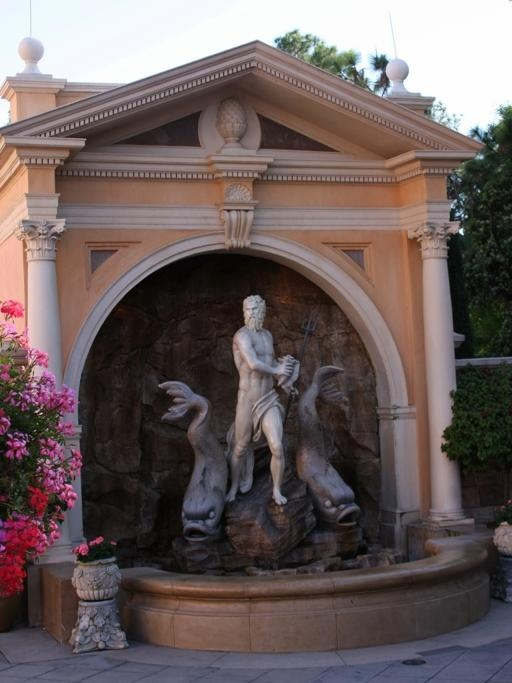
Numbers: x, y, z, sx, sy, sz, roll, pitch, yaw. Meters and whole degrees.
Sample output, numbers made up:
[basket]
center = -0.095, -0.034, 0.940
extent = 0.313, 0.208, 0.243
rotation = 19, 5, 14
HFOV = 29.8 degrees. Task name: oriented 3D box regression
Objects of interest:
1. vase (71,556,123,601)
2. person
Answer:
[vase]
center = -1.270, 1.871, 7.612
extent = 0.387, 0.312, 0.372
rotation = 2, -9, -31
[person]
center = 0.019, 0.602, 9.806
extent = 0.536, 2.122, 0.812
rotation = 5, -11, -37
